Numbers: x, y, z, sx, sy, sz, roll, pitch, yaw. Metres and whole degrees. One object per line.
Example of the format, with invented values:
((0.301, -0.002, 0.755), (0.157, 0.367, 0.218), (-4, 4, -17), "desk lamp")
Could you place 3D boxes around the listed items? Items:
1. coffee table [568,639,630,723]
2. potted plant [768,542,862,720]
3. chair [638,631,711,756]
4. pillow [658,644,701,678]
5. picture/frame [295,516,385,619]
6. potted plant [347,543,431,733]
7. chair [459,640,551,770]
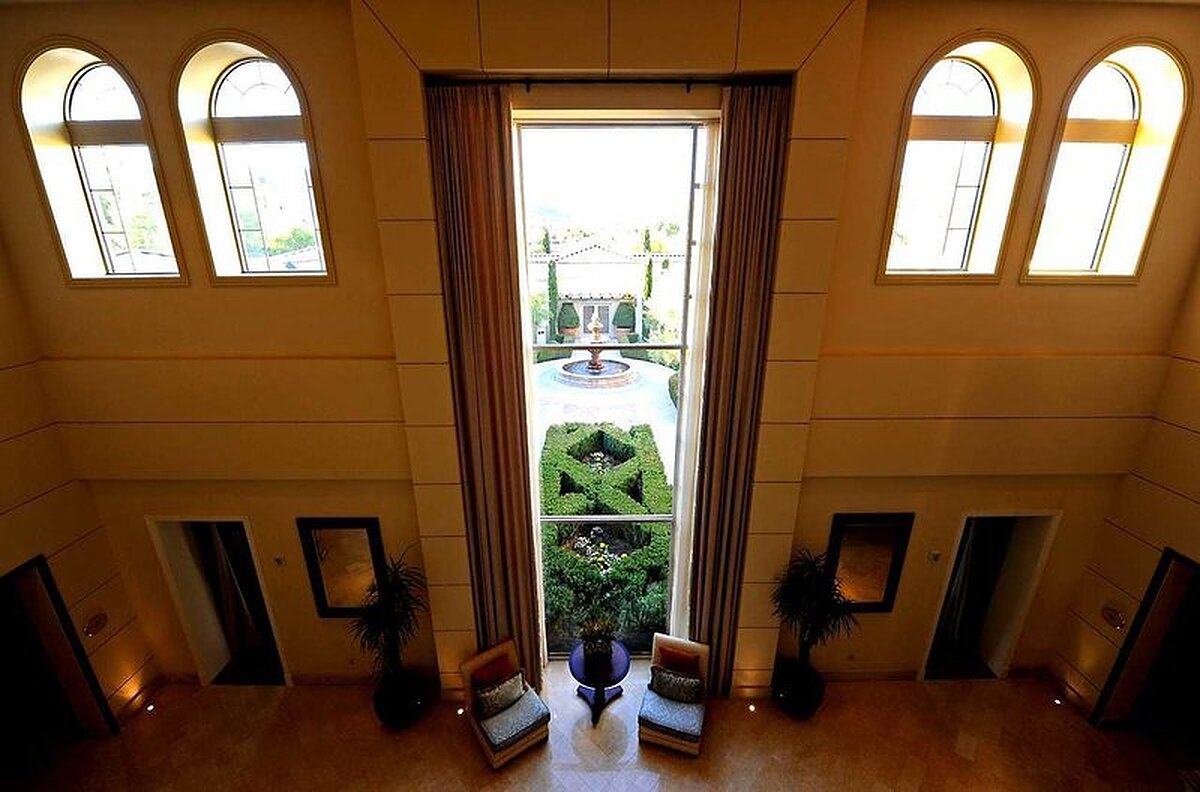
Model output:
((-0.011, 3.593, 10.277), (0.732, 0.946, 0.582), (-2, 17, -5), "coffee table")
((2.662, 2.992, 10.116), (0.988, 2.097, 0.637), (0, 18, 2), "potted plant")
((0.942, 3.711, 10.066), (0.820, 0.807, 1.117), (9, 23, 12), "chair")
((1.040, 3.361, 10.180), (0.416, 0.398, 0.144), (0, 0, 15), "pillow")
((-3.247, 2.082, 10.064), (1.384, 1.760, 0.076), (-1, 14, -2), "picture/frame")
((-2.572, 3.094, 10.042), (0.810, 2.062, 0.755), (-3, 18, -7), "potted plant")
((-1.160, 3.801, 9.939), (0.848, 1.010, 1.049), (-17, 22, -19), "chair")
